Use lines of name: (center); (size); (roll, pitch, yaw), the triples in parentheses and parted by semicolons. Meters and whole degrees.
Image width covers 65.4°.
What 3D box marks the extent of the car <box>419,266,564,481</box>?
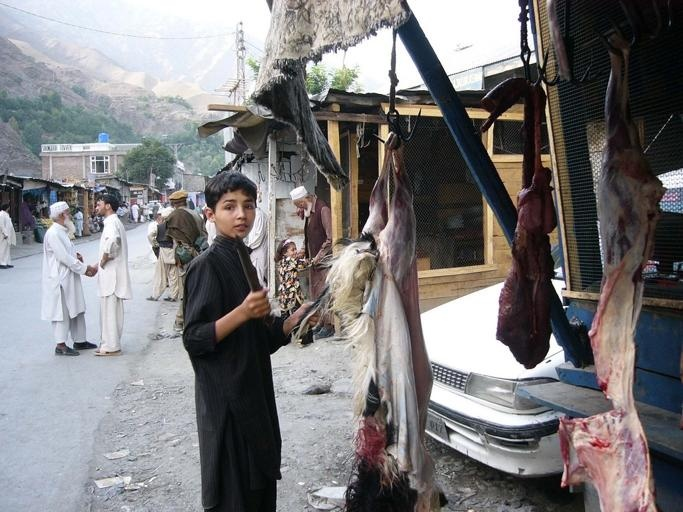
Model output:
car: (1.364, 0.751, 3.982); (1.574, 0.769, 0.980); (-6, 8, -38)

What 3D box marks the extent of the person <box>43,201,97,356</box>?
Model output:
person: (-3.530, 0.308, 6.832); (0.614, 1.974, 0.711); (-5, 9, -32)

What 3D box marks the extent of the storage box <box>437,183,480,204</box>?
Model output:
storage box: (2.066, -1.101, 9.422); (0.707, 0.378, 0.154); (-1, 16, -22)
